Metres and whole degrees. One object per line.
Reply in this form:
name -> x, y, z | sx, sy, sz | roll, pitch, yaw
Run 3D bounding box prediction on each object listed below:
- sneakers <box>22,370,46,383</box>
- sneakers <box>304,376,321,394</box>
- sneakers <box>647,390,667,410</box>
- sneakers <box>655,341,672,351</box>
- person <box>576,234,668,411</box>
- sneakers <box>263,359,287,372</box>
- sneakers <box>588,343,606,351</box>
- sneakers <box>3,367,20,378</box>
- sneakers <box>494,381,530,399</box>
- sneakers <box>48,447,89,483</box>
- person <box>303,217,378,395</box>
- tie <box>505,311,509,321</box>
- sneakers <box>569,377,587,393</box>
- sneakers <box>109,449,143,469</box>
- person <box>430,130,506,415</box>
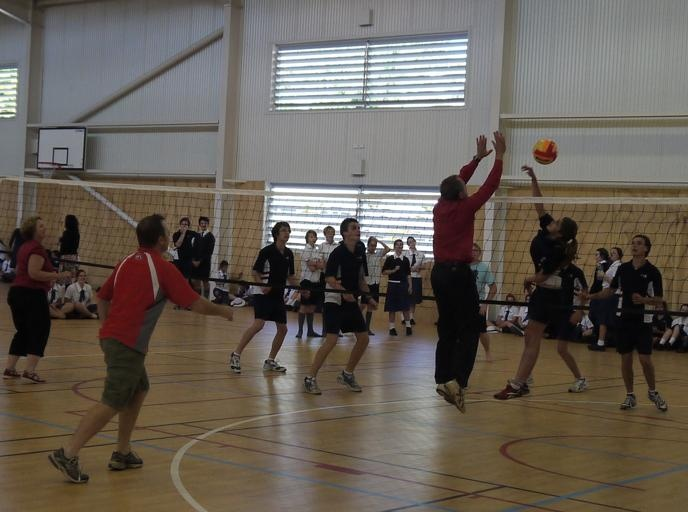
sneakers -> -3.454, 1.355, 6.541 | 0.198, 0.090, 0.069 | 26, 3, -30
sneakers -> -0.379, 1.522, 6.866 | 0.102, 0.140, 0.272 | 1, -3, -30
sneakers -> 3.670, 1.685, 6.906 | 0.128, 0.195, 0.403 | -4, 2, 3
sneakers -> 6.618, 1.895, 12.261 | 0.329, 0.271, 0.132 | -5, 4, 8
person -> 3.279, 0.775, 6.740 | 0.579, 1.970, 0.752 | 4, -2, -35
sneakers -> -0.958, 1.533, 8.155 | 0.342, 0.177, 0.146 | 6, 1, -2
sneakers -> 5.134, 1.878, 11.965 | 0.298, 0.147, 0.166 | 8, -4, -5
sneakers -> -3.738, 1.328, 6.656 | 0.217, 0.127, 0.101 | 2, 1, 1
sneakers -> 2.016, 1.612, 7.032 | 0.432, 0.212, 0.188 | -4, 2, -20
sneakers -> -1.764, 1.352, 3.789 | 0.233, 0.241, 0.142 | 3, -1, -24
person -> -0.010, 0.586, 7.268 | 0.809, 1.741, 1.044 | 2, -1, 0
tie -> 3.907, 1.447, 14.117 | 0.093, 0.182, 0.041 | 3, 2, 7
sneakers -> 3.093, 1.704, 7.786 | 0.404, 0.205, 0.138 | 0, -2, -39
sneakers -> -1.514, 1.429, 4.127 | 0.250, 0.134, 0.103 | 0, 2, -24
person -> 1.111, 0.156, 5.412 | 0.630, 1.849, 0.686 | 2, -1, 13
